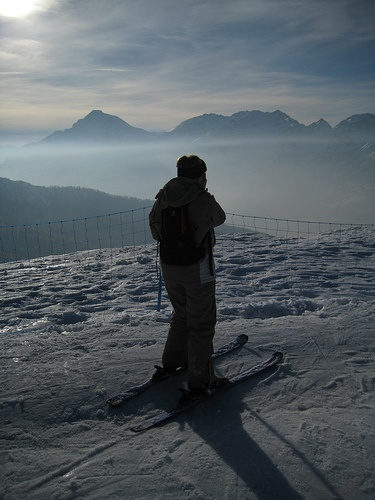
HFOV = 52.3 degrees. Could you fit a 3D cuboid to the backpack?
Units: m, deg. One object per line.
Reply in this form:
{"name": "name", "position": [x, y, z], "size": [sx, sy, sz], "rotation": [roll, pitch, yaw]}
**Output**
{"name": "backpack", "position": [-0.069, -0.136, 2.925], "size": [0.352, 0.505, 0.306], "rotation": [-5, 11, 7]}
